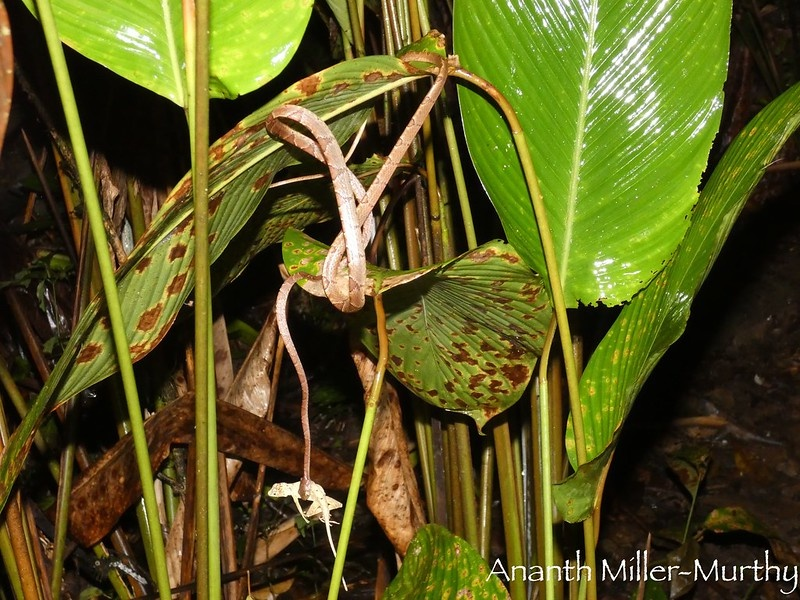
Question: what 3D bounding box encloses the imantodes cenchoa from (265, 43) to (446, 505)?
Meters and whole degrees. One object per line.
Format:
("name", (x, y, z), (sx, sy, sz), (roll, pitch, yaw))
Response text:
("imantodes cenchoa", (-0.085, -0.042, 1.729), (0.082, 0.857, 0.240), (-19, 11, -20))
